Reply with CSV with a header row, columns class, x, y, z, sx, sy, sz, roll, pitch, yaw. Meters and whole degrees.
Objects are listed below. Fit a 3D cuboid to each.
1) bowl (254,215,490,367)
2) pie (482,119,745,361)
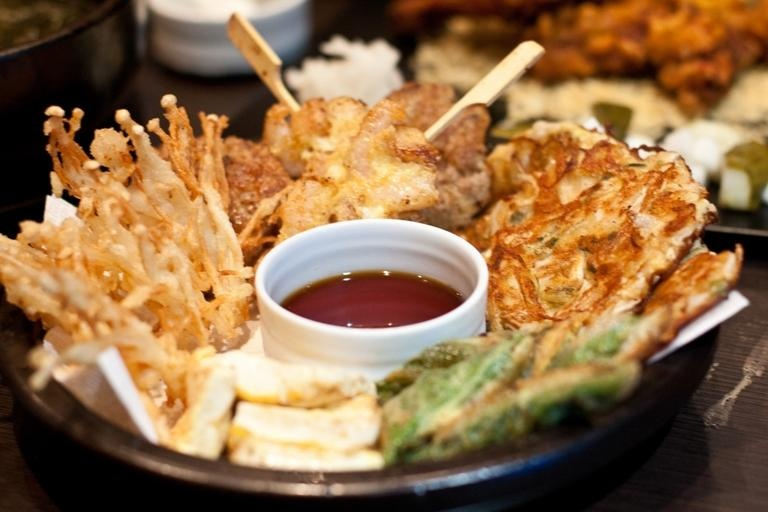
class,x,y,z,sx,sy,sz,roll,pitch,yaw
bowl,-0.019,0.102,1.484,0.493,0.200,0.468,0,32,0
pie,0.469,-0.094,1.538,0.617,0.154,0.584,-16,42,29
